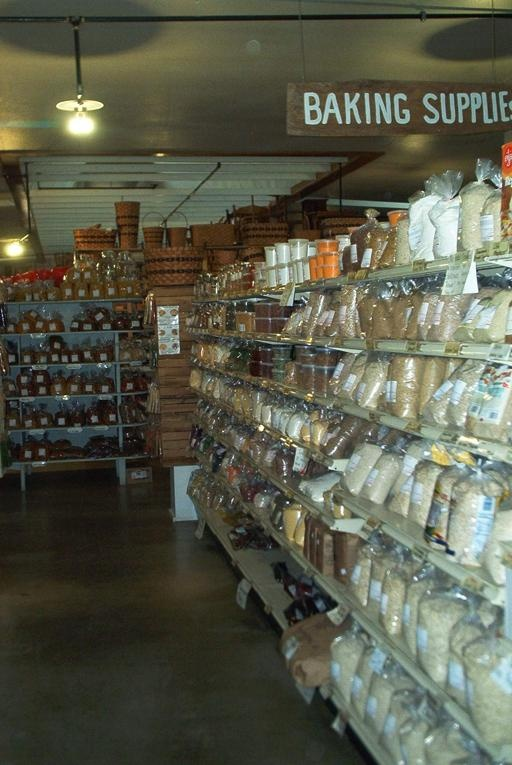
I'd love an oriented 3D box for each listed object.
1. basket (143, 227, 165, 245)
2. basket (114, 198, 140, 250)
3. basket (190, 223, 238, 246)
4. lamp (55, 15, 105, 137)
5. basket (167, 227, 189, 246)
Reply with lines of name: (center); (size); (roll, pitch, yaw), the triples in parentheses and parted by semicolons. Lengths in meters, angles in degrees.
basket: (-1.619, -2.304, 8.400); (0.330, 0.242, 0.289); (2, 8, 20)
basket: (-2.014, -2.512, 8.395); (0.338, 0.699, 0.443); (-2, 1, -15)
basket: (-0.620, -2.227, 8.077); (0.725, 0.299, 0.334); (-2, 1, -12)
lamp: (-1.220, -2.126, 3.684); (0.387, 0.663, 0.387); (-19, 44, -32)
basket: (-1.015, -1.979, 7.366); (0.371, 0.289, 0.331); (-2, 7, -19)
